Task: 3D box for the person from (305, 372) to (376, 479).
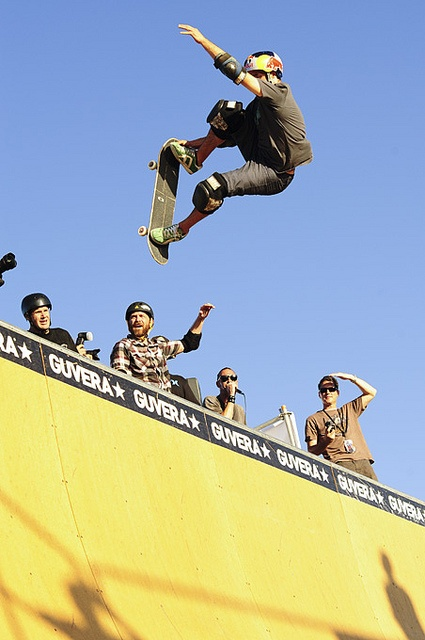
[{"bbox_3d":[1.351,1.134,13.761,0.726,1.123,0.487,-2,-6,5],"label":"person"}]
